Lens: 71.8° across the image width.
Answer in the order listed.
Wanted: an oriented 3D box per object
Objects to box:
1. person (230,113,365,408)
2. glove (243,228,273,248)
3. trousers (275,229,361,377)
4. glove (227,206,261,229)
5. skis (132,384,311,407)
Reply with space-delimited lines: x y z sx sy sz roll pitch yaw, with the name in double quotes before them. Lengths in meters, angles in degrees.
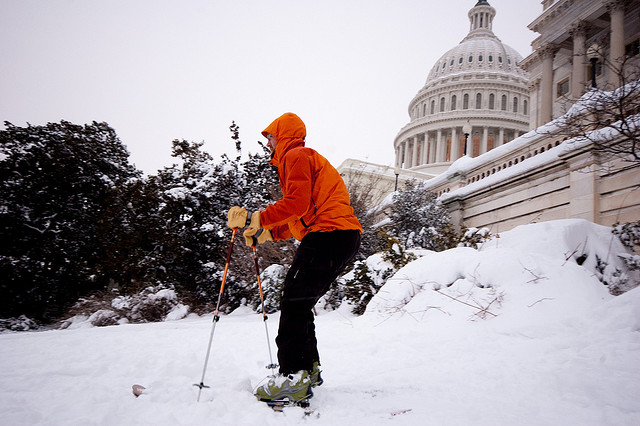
"person" -0.257 0.483 5.223 1.240 3.354 0.905 3 7 19
"glove" -0.809 0.287 5.411 0.306 0.256 0.314 -5 8 -42
"trousers" -0.084 1.018 5.223 0.879 1.667 0.305 -3 8 -31
"glove" -0.906 0.058 5.303 0.465 0.260 0.197 3 7 15
"skis" -1.129 2.092 5.038 2.008 0.164 0.128 1 6 3
